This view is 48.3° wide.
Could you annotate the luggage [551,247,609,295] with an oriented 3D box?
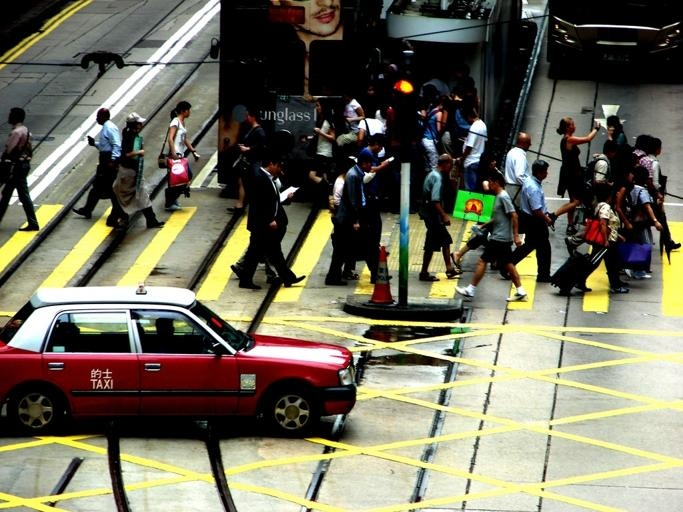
[{"bbox_3d":[4.239,0.304,13.509,1.354,0.557,1.071,8,21,19],"label":"luggage"}]
